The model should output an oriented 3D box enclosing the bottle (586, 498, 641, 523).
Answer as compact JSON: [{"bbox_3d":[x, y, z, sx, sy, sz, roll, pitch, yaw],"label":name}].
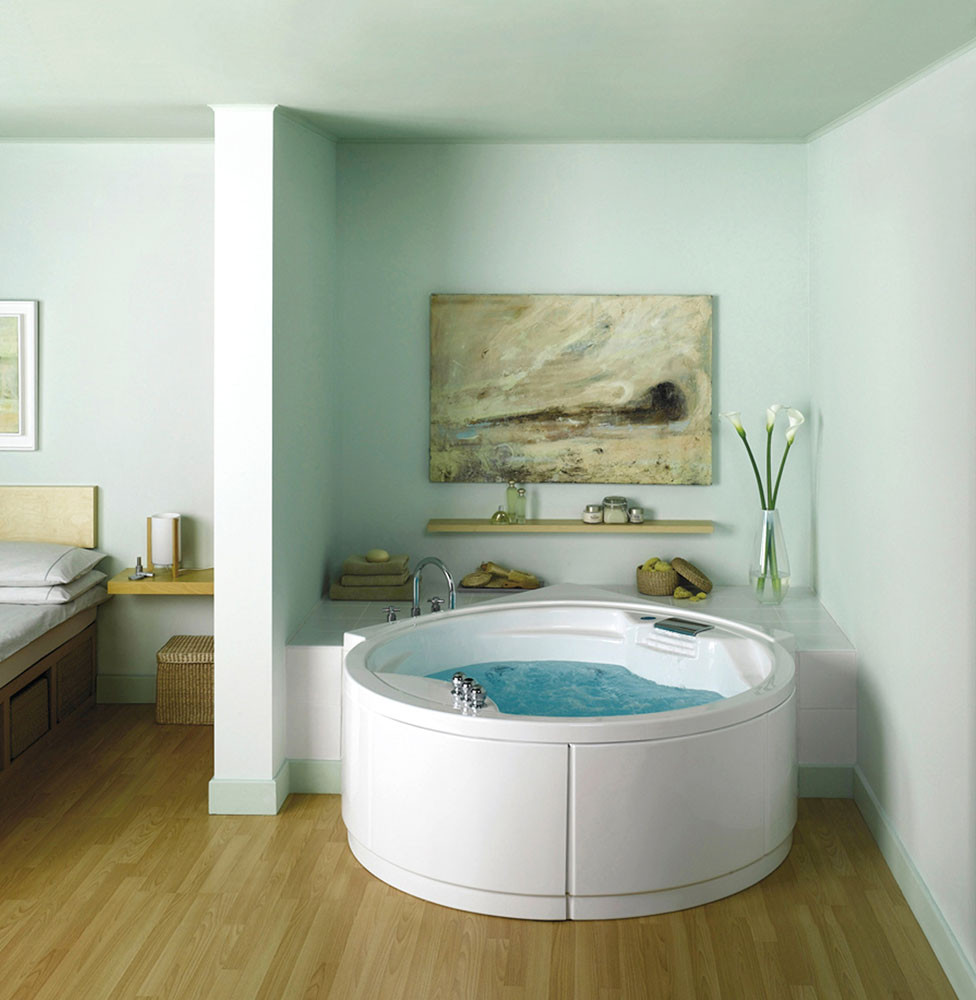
[{"bbox_3d":[0.561,0.037,4.005,0.190,0.101,0.130,1,1,5],"label":"bottle"}]

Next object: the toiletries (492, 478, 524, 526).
[{"bbox_3d":[0.091,0.005,4.017,0.151,0.187,0.126,0,6,3],"label":"toiletries"}]

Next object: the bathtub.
[{"bbox_3d":[0.283,0.783,3.029,1.457,0.613,1.391,2,7,20],"label":"bathtub"}]

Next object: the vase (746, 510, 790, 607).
[{"bbox_3d":[1.171,0.232,3.680,0.154,0.377,0.110,1,7,15],"label":"vase"}]
